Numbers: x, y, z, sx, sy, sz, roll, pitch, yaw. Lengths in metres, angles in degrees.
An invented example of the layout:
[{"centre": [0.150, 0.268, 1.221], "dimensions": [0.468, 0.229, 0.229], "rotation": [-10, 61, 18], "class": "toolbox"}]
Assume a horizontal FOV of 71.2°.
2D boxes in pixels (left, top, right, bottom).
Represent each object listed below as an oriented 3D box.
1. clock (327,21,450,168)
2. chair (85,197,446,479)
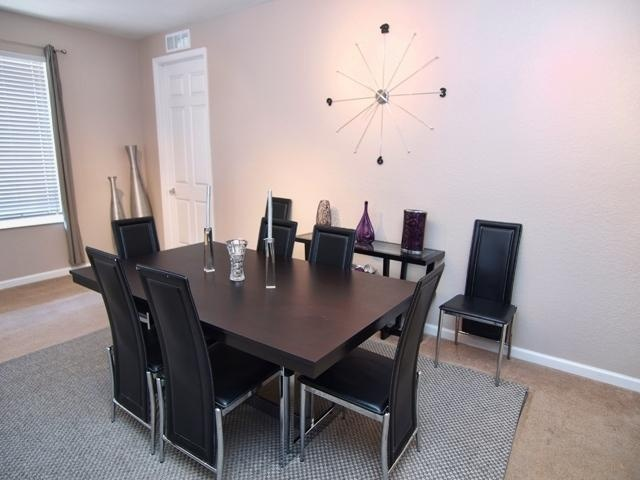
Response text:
[{"centre": [0.631, -1.326, 4.125], "dimensions": [1.001, 1.238, 0.099], "rotation": [9, 14, 36], "class": "clock"}, {"centre": [-0.276, 0.701, 2.978], "dimensions": [2.028, 1.275, 1.224], "rotation": [6, 12, 24], "class": "chair"}]
